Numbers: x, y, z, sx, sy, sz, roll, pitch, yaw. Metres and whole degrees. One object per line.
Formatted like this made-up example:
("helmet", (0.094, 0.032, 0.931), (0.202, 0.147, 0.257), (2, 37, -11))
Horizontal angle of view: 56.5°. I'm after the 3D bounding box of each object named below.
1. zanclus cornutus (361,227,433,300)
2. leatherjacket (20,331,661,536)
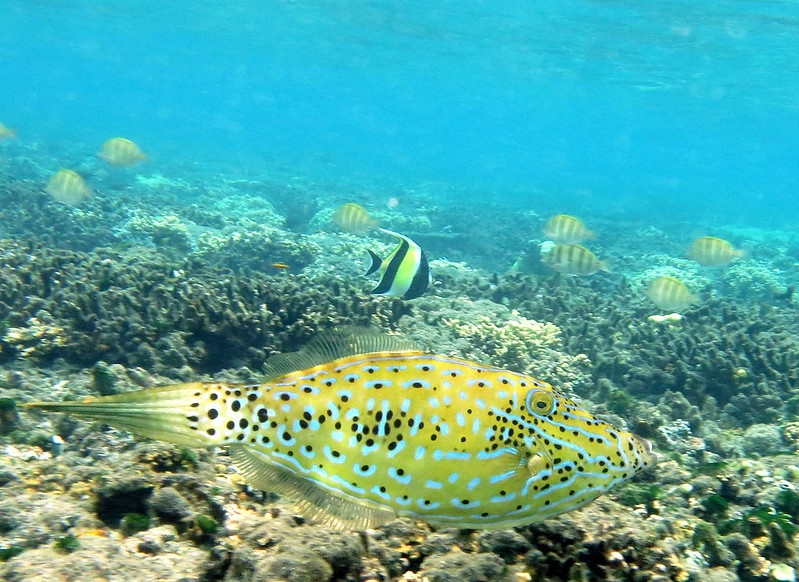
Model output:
("zanclus cornutus", (0.257, -0.774, 24.093), (3.586, 2.400, 0.978), (12, 24, 38))
("leatherjacket", (-1.060, 4.246, 21.024), (17.109, 4.929, 3.543), (2, 8, 8))
